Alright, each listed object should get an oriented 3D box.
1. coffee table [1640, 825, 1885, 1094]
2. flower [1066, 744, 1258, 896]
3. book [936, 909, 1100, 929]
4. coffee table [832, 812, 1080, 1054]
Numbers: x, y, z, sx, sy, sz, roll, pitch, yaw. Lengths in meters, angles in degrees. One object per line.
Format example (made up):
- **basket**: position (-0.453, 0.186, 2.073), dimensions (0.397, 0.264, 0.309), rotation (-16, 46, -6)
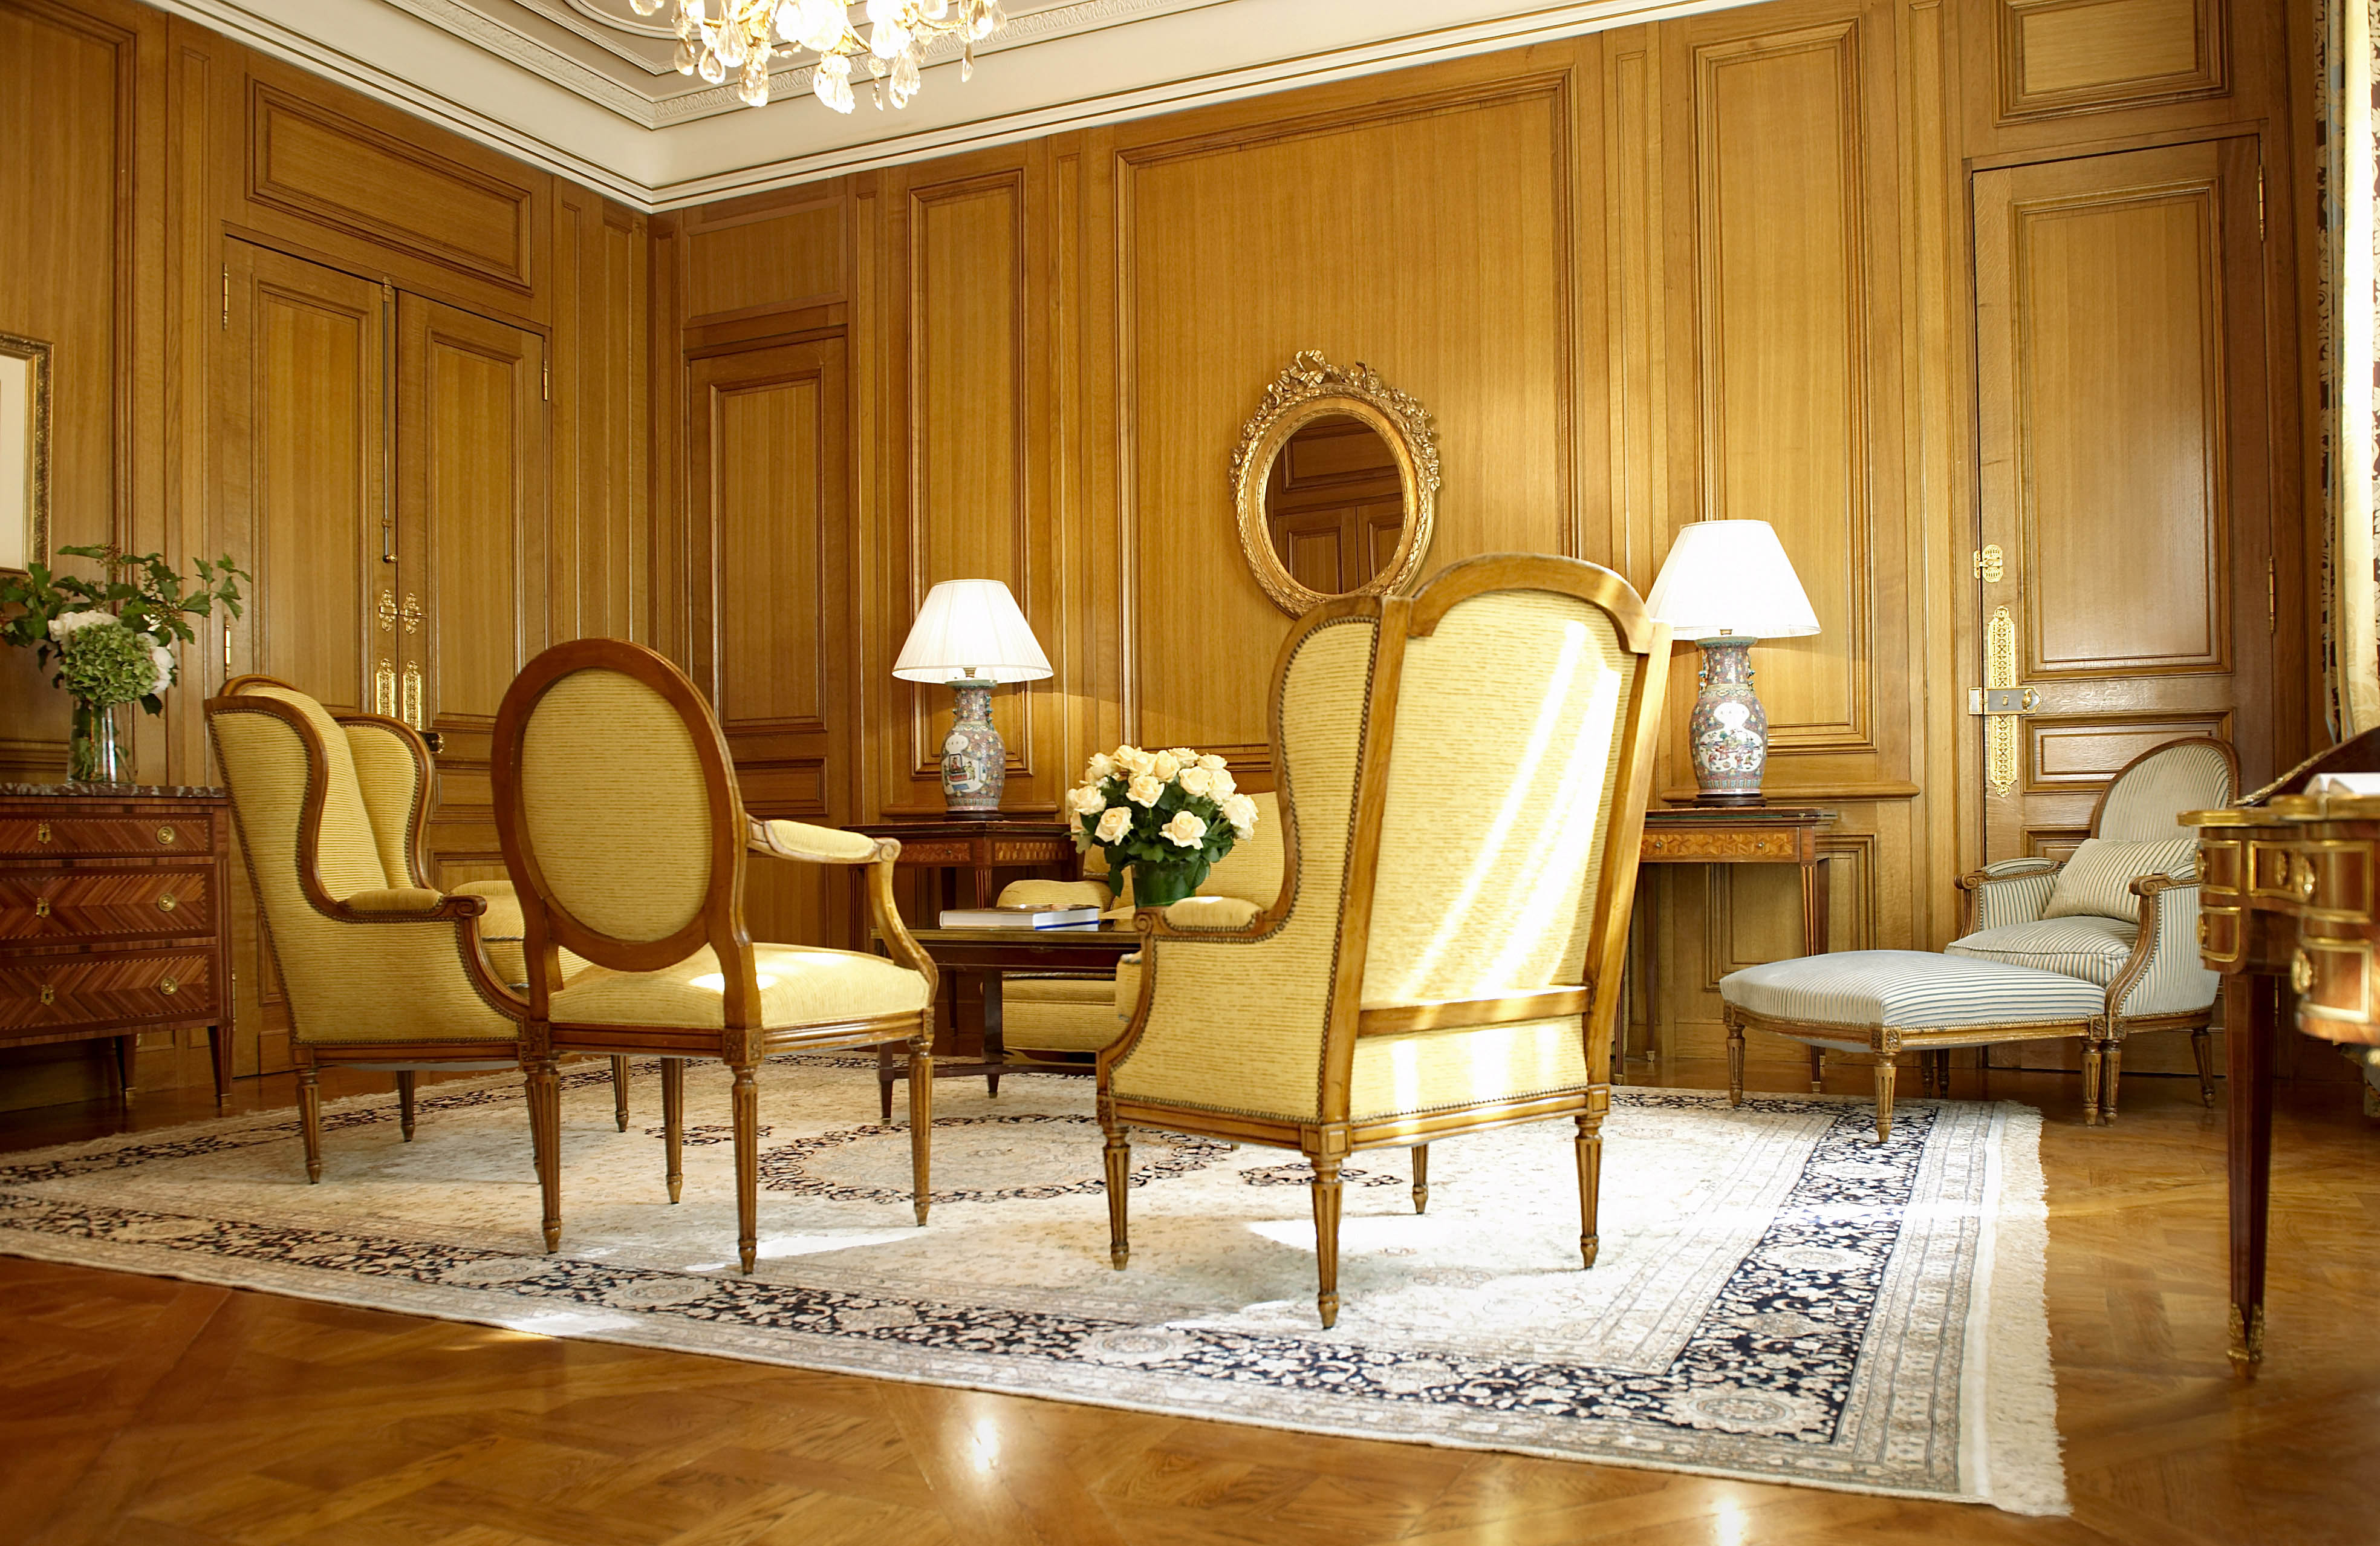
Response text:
- **coffee table**: position (1.934, 0.669, 5.663), dimensions (0.913, 1.085, 1.225), rotation (-1, -1, 22)
- **flower**: position (-0.088, 0.133, 4.490), dimensions (0.495, 0.391, 0.450), rotation (0, -3, 0)
- **book**: position (-0.484, 0.406, 4.513), dimensions (0.457, 0.053, 0.185), rotation (-1, 2, -2)
- **coffee table**: position (-0.947, 0.555, 6.223), dimensions (1.096, 0.905, 0.918), rotation (-2, -3, 38)
